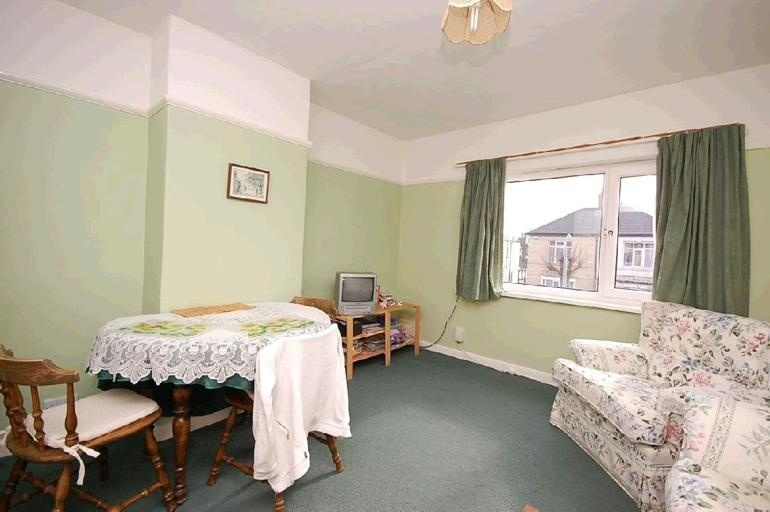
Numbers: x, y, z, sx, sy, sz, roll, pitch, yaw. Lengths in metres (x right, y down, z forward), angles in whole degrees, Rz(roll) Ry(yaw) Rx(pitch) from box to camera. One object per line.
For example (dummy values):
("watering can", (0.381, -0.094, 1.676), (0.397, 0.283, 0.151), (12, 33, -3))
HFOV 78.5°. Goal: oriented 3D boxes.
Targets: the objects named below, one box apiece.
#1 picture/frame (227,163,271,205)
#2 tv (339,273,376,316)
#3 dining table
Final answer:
("picture/frame", (-1.233, -0.643, 4.186), (0.407, 0.351, 0.032), (1, -1, -41))
("tv", (-0.346, 0.419, 5.278), (0.495, 0.549, 0.397), (2, -4, -25))
("dining table", (-1.261, 0.683, 3.394), (1.379, 1.019, 1.587), (0, 0, 37))
